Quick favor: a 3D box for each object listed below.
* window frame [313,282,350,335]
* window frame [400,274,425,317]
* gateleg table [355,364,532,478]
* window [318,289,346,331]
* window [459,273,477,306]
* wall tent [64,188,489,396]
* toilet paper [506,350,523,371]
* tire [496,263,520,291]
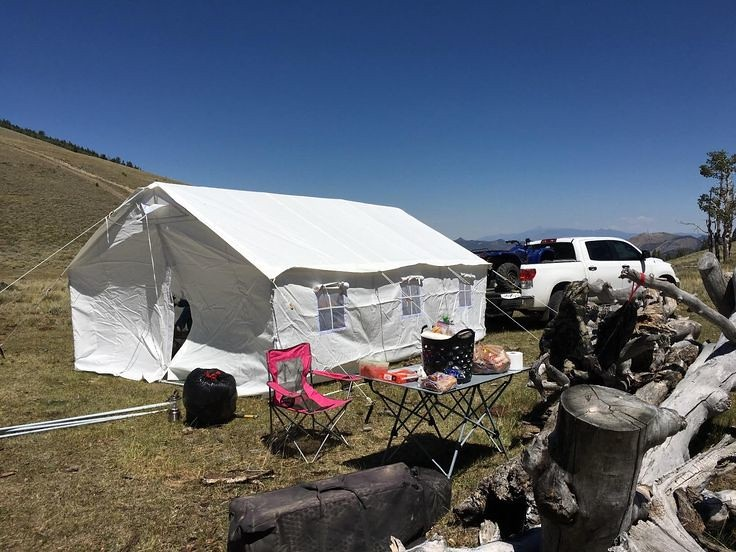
[{"bbox_3d":[-0.561,0.490,8.530,0.251,0.837,0.784,-2,0,37],"label":"window frame"},{"bbox_3d":[0.773,0.352,9.898,0.162,0.731,0.711,-1,2,37],"label":"window frame"},{"bbox_3d":[1.009,1.629,6.990,0.927,0.749,1.605,5,-4,28],"label":"gateleg table"},{"bbox_3d":[-0.549,0.522,8.549,0.069,0.647,0.605,-6,-2,38],"label":"window"},{"bbox_3d":[1.976,0.273,11.159,0.110,0.694,0.629,-2,-4,30],"label":"window"},{"bbox_3d":[-2.345,0.232,9.582,4.558,2.076,4.642,-4,-2,40],"label":"wall tent"},{"bbox_3d":[1.623,0.944,6.235,0.184,0.182,0.187,2,4,43],"label":"toilet paper"},{"bbox_3d":[2.961,0.045,11.824,0.156,0.469,0.457,-5,8,45],"label":"tire"}]
